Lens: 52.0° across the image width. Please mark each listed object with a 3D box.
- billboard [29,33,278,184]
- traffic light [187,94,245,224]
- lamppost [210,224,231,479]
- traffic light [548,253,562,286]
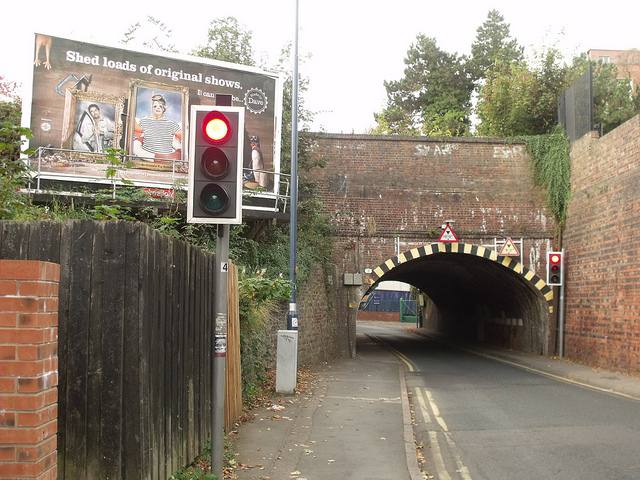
[{"bbox_3d":[-4.598,-3.180,16.485,6.304,3.895,0.074,0,2,-27],"label":"billboard"},{"bbox_3d":[-1.286,-0.939,8.110,0.649,1.468,0.303,1,-2,-11],"label":"traffic light"},{"bbox_3d":[-1.282,1.442,8.364,0.168,3.262,0.318,1,-2,-10],"label":"lamppost"},{"bbox_3d":[7.904,0.983,21.995,0.439,1.094,0.596,0,-2,19],"label":"traffic light"}]
